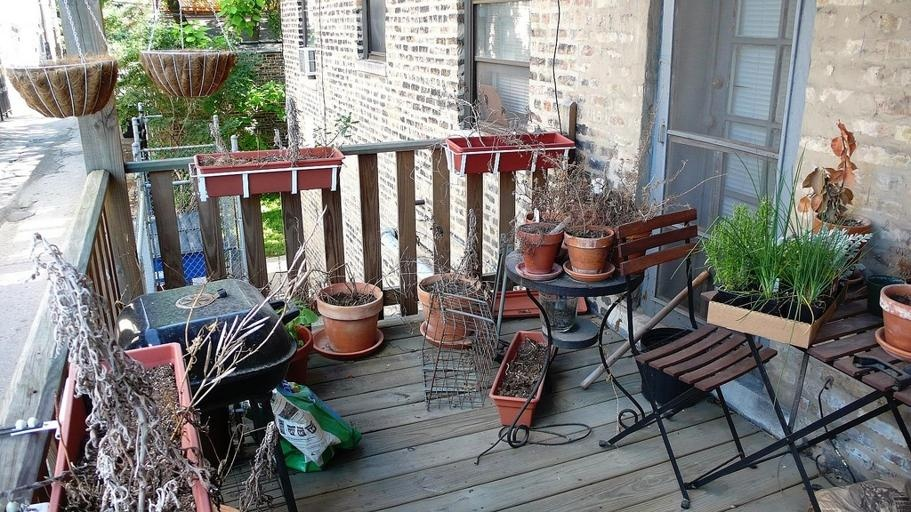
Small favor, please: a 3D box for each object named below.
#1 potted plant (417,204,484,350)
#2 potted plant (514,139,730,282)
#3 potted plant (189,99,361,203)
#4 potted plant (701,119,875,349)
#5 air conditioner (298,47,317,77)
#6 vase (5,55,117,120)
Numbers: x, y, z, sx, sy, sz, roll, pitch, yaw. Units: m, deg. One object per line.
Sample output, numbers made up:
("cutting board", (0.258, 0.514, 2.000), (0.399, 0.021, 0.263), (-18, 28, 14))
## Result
("potted plant", (-0.048, 0.197, 4.050), (0.453, 0.902, 0.819), (-3, 26, 1))
("potted plant", (0.954, -0.264, 3.630), (0.992, 0.504, 0.809), (0, 20, -10))
("potted plant", (-1.246, -0.687, 3.955), (0.971, 0.635, 0.339), (-11, 28, -16))
("potted plant", (1.493, -0.148, 3.215), (1.082, 0.989, 1.063), (8, 29, 25))
("air conditioner", (-2.395, -3.155, 9.708), (0.301, 0.527, 0.592), (0, -9, -17))
("vase", (-1.951, -0.792, 2.999), (0.374, 0.214, 0.368), (-21, 22, -35))
